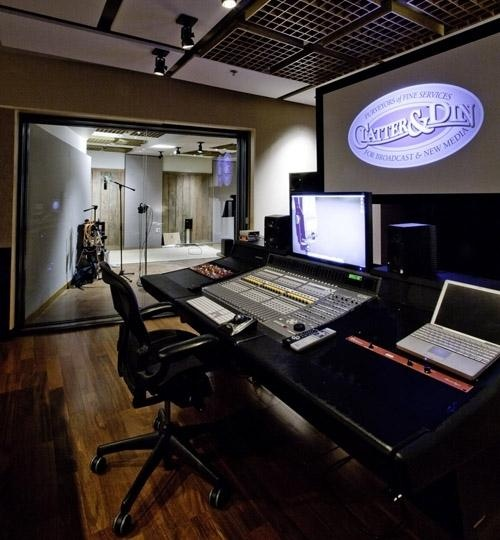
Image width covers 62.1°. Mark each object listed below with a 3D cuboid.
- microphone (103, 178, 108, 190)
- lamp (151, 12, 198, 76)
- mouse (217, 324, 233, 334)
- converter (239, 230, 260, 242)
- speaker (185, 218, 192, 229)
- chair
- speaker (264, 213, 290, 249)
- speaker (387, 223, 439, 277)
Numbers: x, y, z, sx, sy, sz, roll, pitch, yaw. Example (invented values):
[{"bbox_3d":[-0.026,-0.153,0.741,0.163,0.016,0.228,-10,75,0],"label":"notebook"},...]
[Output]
[{"bbox_3d":[-1.511,-0.891,4.326,0.045,0.118,0.012,-2,10,-9],"label":"microphone"},{"bbox_3d":[-0.566,-1.632,3.094,0.190,0.253,0.589,2,-33,-33],"label":"lamp"},{"bbox_3d":[-0.100,0.242,1.715,0.036,0.010,0.040,-21,18,-28],"label":"mouse"},{"bbox_3d":[-0.002,-0.238,2.942,0.143,0.076,0.145,-1,11,-2],"label":"converter"},{"bbox_3d":[-0.703,-0.524,4.764,0.088,0.131,0.040,-3,10,-11],"label":"speaker"},{"bbox_3d":[-0.443,0.398,2.321,0.887,1.406,0.931,-4,12,-24],"label":"chair"},{"bbox_3d":[0.173,-0.232,2.580,0.220,0.202,0.151,4,11,23],"label":"speaker"},{"bbox_3d":[0.709,-0.083,1.809,0.203,0.221,0.131,3,11,20],"label":"speaker"}]
